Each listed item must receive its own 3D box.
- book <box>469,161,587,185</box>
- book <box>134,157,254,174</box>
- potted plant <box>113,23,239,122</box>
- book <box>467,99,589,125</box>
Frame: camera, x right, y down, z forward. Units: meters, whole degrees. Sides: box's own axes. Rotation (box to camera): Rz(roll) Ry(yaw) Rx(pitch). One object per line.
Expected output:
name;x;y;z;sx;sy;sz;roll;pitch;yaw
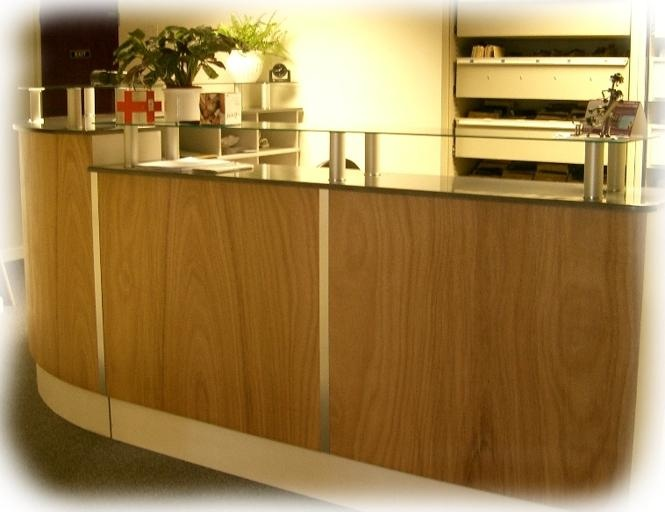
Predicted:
book;1.942;-0.876;5.761;1.085;0.169;0.372;5;11;18
book;-0.698;-0.455;2.855;0.645;0.055;0.300;7;12;24
potted plant;-0.816;-0.964;3.062;0.675;0.501;0.695;4;12;32
book;1.925;-1.474;5.723;1.133;0.247;0.711;6;12;23
